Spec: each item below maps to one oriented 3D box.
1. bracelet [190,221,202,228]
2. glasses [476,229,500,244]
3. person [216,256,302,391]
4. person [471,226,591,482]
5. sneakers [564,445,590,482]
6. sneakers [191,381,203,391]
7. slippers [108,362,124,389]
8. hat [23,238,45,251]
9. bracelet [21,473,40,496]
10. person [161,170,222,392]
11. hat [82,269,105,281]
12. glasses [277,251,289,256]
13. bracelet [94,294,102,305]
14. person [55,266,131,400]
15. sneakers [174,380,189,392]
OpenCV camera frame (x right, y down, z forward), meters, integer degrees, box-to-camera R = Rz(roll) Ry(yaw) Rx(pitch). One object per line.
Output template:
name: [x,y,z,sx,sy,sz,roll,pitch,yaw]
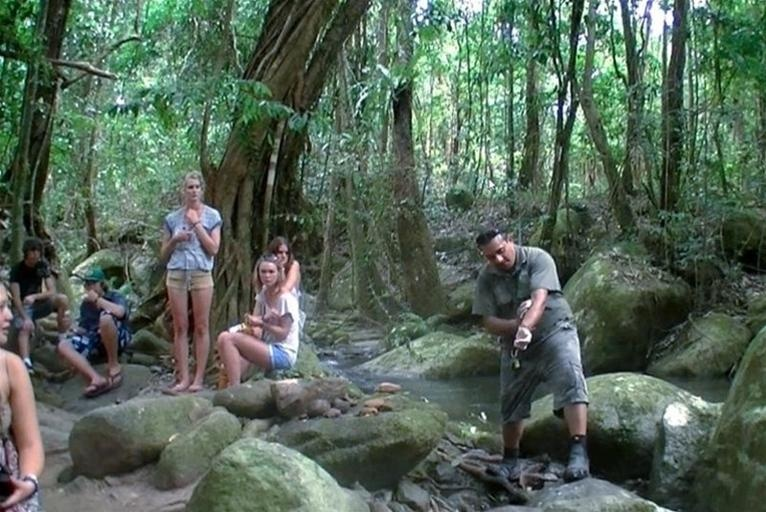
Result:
bracelet: [-2.095,-0.346,7.015,0.091,0.053,0.042,2,-1,14]
glasses: [1.005,-0.173,5.972,0.216,0.139,0.068,2,-1,13]
person: [-1.353,0.737,6.859,0.861,1.433,0.449,2,-1,-15]
person: [1.401,0.959,6.024,1.110,2.072,0.677,2,-1,18]
sneakers: [1.757,1.880,5.676,0.197,0.281,0.241,1,-2,42]
sneakers: [-2.094,1.472,7.046,0.133,0.117,0.243,3,-2,-13]
slippers: [-3.236,1.463,7.612,0.157,0.301,0.397,2,-2,-23]
hat: [-4.689,-0.137,8.412,0.222,0.217,0.182,3,-2,-32]
bracelet: [-2.407,1.572,4.302,0.108,0.143,0.058,-15,0,-43]
person: [-2.175,0.294,7.093,0.617,2.588,0.402,2,-1,-21]
hat: [-3.488,0.269,7.607,0.145,0.114,0.204,-4,-14,39]
glasses: [-1.116,-0.011,7.082,0.064,0.051,0.139,1,-3,39]
bracelet: [-3.474,0.535,7.647,0.098,0.108,0.066,-13,29,-31]
person: [-3.518,0.923,7.665,0.802,1.703,0.848,2,-1,-22]
sneakers: [-2.266,1.467,7.058,0.151,0.126,0.202,2,-2,-2]
